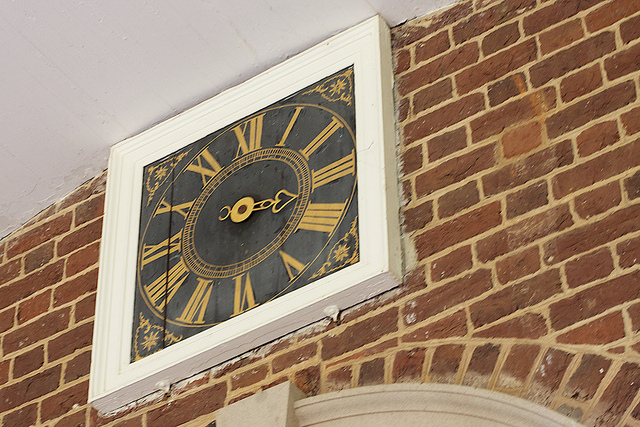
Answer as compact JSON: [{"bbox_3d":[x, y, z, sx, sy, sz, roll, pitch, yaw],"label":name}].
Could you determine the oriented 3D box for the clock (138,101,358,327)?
[{"bbox_3d":[-0.261,0.028,7.638,0.873,0.054,0.710,-31,54,12],"label":"clock"}]
